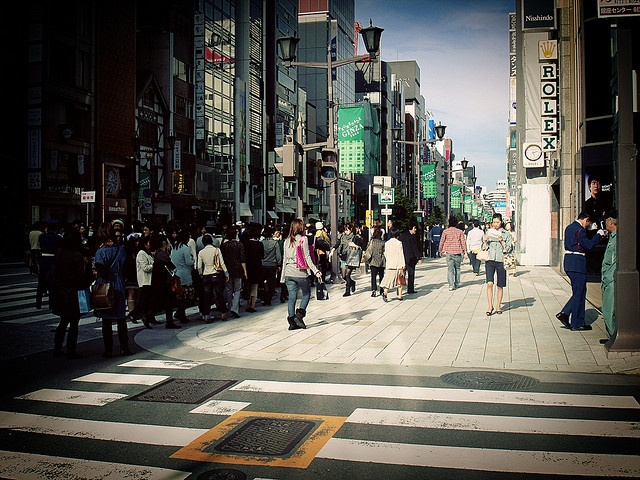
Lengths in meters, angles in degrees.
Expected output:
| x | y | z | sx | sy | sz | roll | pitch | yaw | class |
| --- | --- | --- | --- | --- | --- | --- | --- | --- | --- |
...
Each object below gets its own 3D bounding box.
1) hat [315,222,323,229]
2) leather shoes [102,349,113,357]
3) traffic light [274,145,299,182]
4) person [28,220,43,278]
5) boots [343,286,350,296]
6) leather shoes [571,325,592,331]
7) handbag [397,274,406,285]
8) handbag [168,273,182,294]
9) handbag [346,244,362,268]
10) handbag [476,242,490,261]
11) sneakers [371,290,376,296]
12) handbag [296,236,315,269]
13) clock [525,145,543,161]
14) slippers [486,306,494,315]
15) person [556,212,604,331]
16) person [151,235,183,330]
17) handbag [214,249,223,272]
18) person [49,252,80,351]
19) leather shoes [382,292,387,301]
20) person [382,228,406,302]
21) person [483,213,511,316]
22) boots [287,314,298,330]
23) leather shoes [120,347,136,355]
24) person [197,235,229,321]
| x | y | z | sx | sy | sz | roll | pitch | yaw | class |
| --- | --- | --- | --- | --- | --- | --- | --- | --- | --- |
| -0.043 | -0.518 | 20.067 | 0.259 | 0.194 | 0.353 | -6 | 2 | -5 | hat |
| -3.966 | 2.076 | 10.820 | 0.192 | 0.122 | 0.194 | -4 | 3 | -6 | leather shoes |
| -1.040 | -2.381 | 17.854 | 0.897 | 1.318 | 0.687 | 1 | 2 | 17 | traffic light |
| -9.892 | 0.286 | 20.194 | 0.466 | 1.630 | 3.310 | -4 | 3 | -26 | person |
| 0.868 | 1.635 | 18.682 | 0.246 | 0.248 | 0.495 | -4 | 3 | 2 | boots |
| 5.554 | 1.842 | 12.319 | 0.351 | 0.171 | 0.151 | -1 | 0 | 7 | leather shoes |
| 2.376 | 1.145 | 17.050 | 0.264 | 0.384 | 0.507 | -3 | 3 | 7 | handbag |
| -3.325 | 0.986 | 13.265 | 0.180 | 0.522 | 0.471 | -1 | -4 | 15 | handbag |
| 1.145 | 0.500 | 19.891 | 0.681 | 1.014 | 0.374 | 4 | 0 | -1 | handbag |
| 4.126 | 0.354 | 14.631 | 0.277 | 0.320 | 0.502 | -3 | 3 | 17 | handbag |
| 1.732 | 1.686 | 18.557 | 0.209 | 0.233 | 0.115 | 1 | -7 | 5 | sneakers |
| -0.391 | 0.285 | 13.031 | 0.299 | 0.727 | 0.200 | -3 | 2 | 8 | handbag |
| 12.299 | -5.032 | 33.439 | 0.950 | 0.967 | 0.456 | -3 | 3 | 16 | clock |
| 4.302 | 1.722 | 14.671 | 0.180 | 0.225 | 0.643 | -3 | 3 | 17 | slippers |
| 5.596 | 0.648 | 12.487 | 0.926 | 2.473 | 0.900 | -2 | 3 | 26 | person |
| -3.616 | 0.958 | 13.375 | 0.601 | 1.620 | 0.718 | -4 | 3 | -16 | person |
| -2.487 | 0.489 | 14.215 | 0.226 | 0.379 | 0.124 | -2 | 3 | 23 | handbag |
| -4.651 | 1.133 | 10.667 | 0.739 | 1.692 | 0.325 | -2 | 3 | 25 | person |
| 1.922 | 1.656 | 17.164 | 0.060 | 0.225 | 0.148 | -9 | -7 | 7 | leather shoes |
| 2.176 | 0.744 | 17.402 | 0.696 | 2.144 | 1.206 | -3 | 3 | 7 | person |
| 4.562 | 0.585 | 14.902 | 0.650 | 2.519 | 1.584 | -3 | 3 | 16 | person |
| -0.595 | 1.816 | 13.051 | 0.257 | 0.320 | 0.277 | -5 | 3 | -25 | boots |
| -3.616 | 2.067 | 10.997 | 0.195 | 0.113 | 0.308 | -3 | 3 | 18 | leather shoes |
| -2.673 | 0.903 | 14.467 | 0.712 | 1.481 | 0.745 | -4 | 3 | -14 | person |
